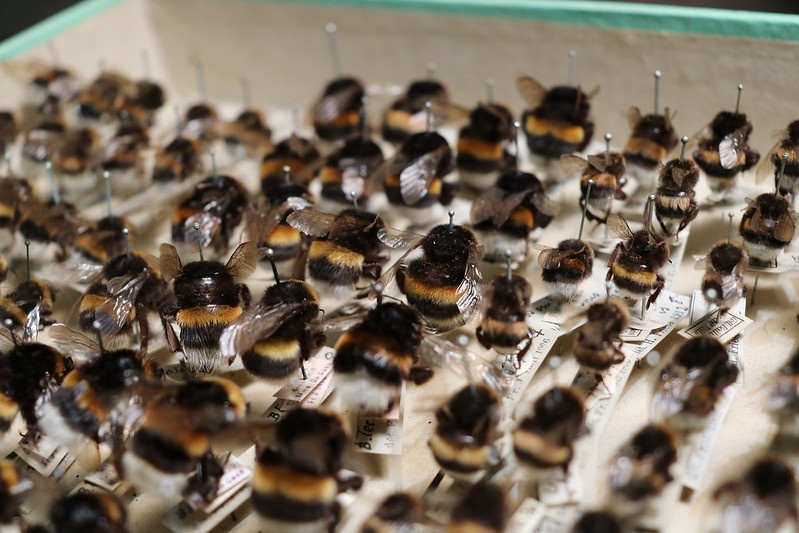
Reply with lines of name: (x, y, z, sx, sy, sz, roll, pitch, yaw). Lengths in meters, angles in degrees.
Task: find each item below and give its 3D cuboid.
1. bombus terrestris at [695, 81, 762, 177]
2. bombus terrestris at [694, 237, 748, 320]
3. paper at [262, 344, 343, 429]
bombus terrestris: (1.325, -0.538, 3.298, 0.260, 0.113, 0.372, 5, 69, 30)
bombus terrestris: (1.173, 0.047, 2.897, 0.115, 0.125, 0.310, -9, 29, 28)
paper: (-0.338, 0.442, 2.967, 0.191, 0.020, 0.413, 17, 45, 26)
